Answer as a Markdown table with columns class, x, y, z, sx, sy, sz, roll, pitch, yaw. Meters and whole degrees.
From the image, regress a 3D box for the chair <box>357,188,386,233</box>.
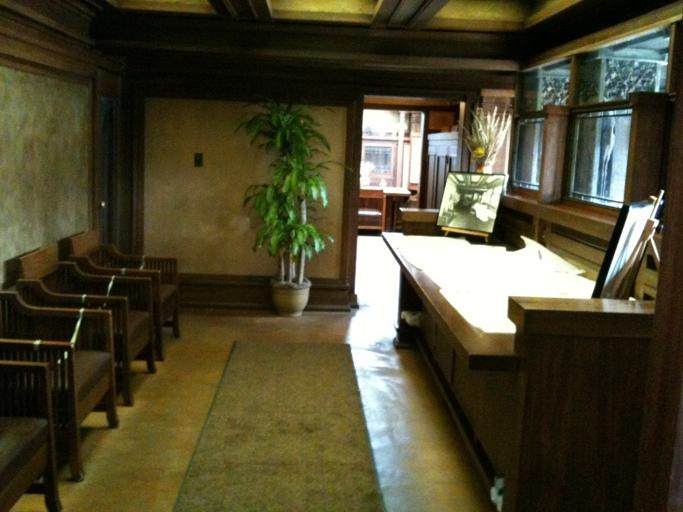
| class | x | y | z | sx | sy | sz | roll | pitch | yaw |
| --- | --- | --- | --- | --- | --- | --- | --- | --- | --- |
| chair | 0.632 | -0.941 | 10.950 | 0.551 | 0.852 | 0.426 | 3 | 12 | 4 |

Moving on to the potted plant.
| class | x | y | z | sx | sy | sz | roll | pitch | yaw |
| --- | --- | --- | --- | --- | --- | --- | --- | --- | --- |
| potted plant | -0.509 | -0.465 | 5.440 | 0.984 | 2.164 | 0.867 | 0 | 12 | -8 |

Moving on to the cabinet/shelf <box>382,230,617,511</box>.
| class | x | y | z | sx | sy | sz | roll | pitch | yaw |
| --- | --- | --- | --- | --- | --- | --- | --- | --- | --- |
| cabinet/shelf | 0.860 | 0.491 | 3.225 | 0.945 | 0.990 | 2.495 | 2 | 12 | -3 |

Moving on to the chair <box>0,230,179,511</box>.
| class | x | y | z | sx | sy | sz | roll | pitch | yaw |
| --- | --- | --- | --- | --- | --- | --- | --- | --- | --- |
| chair | -1.485 | 0.680 | 3.111 | 0.419 | 0.631 | 1.309 | 0 | 11 | -6 |

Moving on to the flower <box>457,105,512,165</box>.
| class | x | y | z | sx | sy | sz | roll | pitch | yaw |
| --- | --- | --- | --- | --- | --- | --- | --- | --- | --- |
| flower | 1.411 | -1.190 | 5.266 | 0.475 | 0.622 | 0.984 | 5 | 12 | 12 |
